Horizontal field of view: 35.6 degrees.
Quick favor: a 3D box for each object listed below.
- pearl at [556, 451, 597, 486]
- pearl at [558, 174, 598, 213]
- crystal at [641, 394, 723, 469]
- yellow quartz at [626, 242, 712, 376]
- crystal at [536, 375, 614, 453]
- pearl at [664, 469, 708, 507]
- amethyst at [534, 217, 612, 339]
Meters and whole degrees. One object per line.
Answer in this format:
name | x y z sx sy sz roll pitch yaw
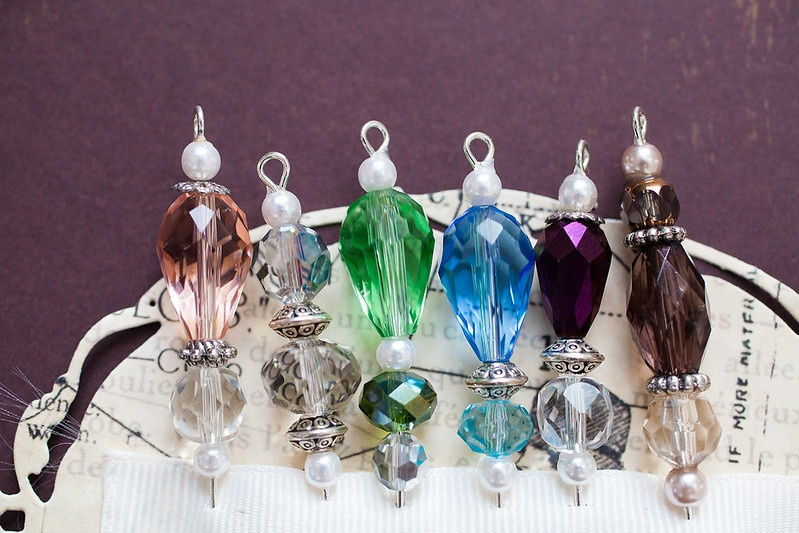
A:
pearl | 0.272 0.313 1.929 0.048 0.054 0.054 -1 -15 -8
pearl | 0.278 -0.111 2.007 0.056 0.071 0.058 3 -6 -35
crystal | 0.435 0.257 1.940 0.115 0.112 0.029 -4 -9 13
yellow quartz | 0.425 0.066 1.991 0.126 0.225 0.127 -3 -6 -28
crystal | 0.274 0.233 1.954 0.120 0.119 0.060 -1 -9 -4
pearl | 0.438 0.341 1.927 0.054 0.064 0.058 0 -13 -11
amethyst | 0.275 0.013 1.995 0.117 0.200 0.118 0 6 10
